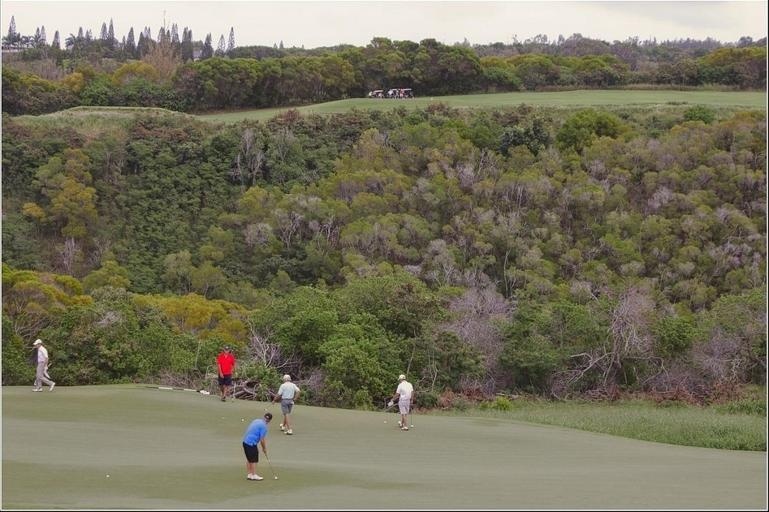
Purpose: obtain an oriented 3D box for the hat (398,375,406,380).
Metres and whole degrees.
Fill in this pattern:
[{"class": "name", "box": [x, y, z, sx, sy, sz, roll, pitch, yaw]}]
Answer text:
[{"class": "hat", "box": [1.353, 9.271, 94.429, 0.457, 0.390, 0.719, 2, 0, -2]}]
